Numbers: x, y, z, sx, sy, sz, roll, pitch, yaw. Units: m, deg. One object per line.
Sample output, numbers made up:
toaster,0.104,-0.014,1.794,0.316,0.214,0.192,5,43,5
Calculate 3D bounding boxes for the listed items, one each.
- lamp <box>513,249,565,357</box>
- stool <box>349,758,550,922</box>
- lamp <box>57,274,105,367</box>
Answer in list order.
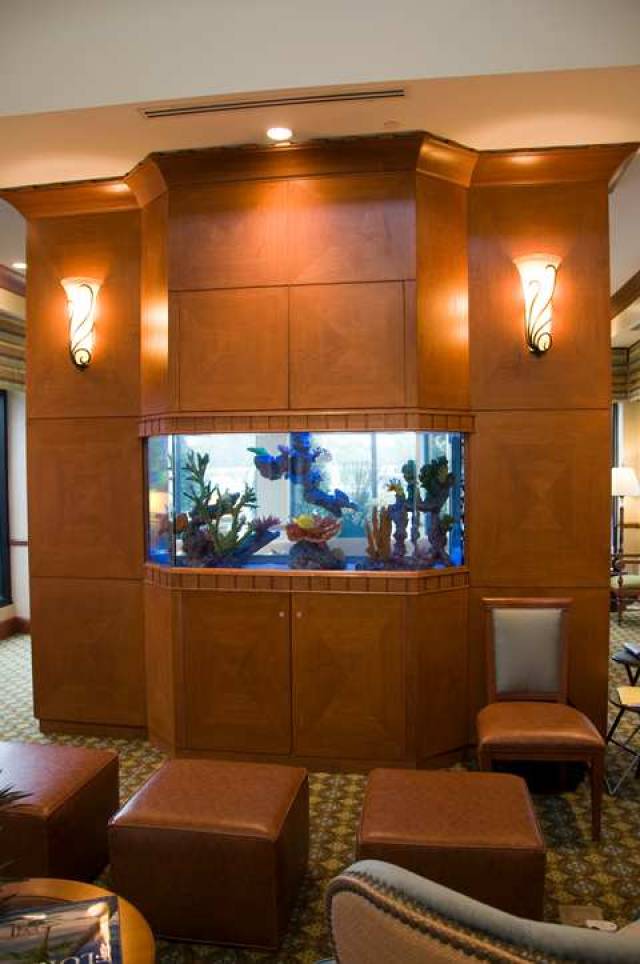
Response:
lamp,1.135,-0.886,4.003,0.238,0.478,0.231,-2,-12,29
stool,0.422,1.095,2.578,0.566,0.507,0.583,2,-1,6
lamp,-1.357,-0.903,4.370,0.203,0.503,0.141,-1,1,16
